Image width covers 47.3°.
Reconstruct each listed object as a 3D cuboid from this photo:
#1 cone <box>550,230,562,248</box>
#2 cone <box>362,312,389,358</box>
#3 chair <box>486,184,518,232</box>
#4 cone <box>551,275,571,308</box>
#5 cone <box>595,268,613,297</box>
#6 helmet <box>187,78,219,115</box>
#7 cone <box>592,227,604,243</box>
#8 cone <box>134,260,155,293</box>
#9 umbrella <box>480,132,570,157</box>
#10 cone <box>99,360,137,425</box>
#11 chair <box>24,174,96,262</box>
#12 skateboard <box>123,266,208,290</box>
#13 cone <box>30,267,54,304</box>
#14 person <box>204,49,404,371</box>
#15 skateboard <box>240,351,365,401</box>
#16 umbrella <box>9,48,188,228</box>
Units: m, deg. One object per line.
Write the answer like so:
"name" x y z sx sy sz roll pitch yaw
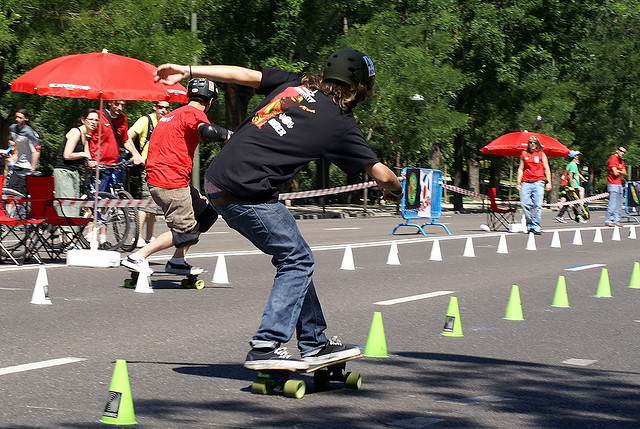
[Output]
"cone" 5.411 0.582 16.650 0.389 0.429 0.323 0 5 13
"cone" 0.510 1.072 6.602 0.239 0.410 0.294 0 1 4
"chair" 5.560 -0.160 21.955 1.150 1.111 1.087 3 2 -15
"cone" 3.104 0.970 9.356 0.220 0.377 0.443 0 1 17
"cone" 4.014 0.939 10.234 0.203 0.356 0.564 0 1 21
"helmet" -1.463 -1.464 9.046 0.367 0.397 0.490 0 1 -10
"cone" 7.034 0.511 18.349 0.460 0.405 0.418 2 2 11
"cone" -2.275 0.780 9.400 0.248 0.402 0.446 0 1 -14
"umbrella" 7.229 -2.500 25.791 2.793 0.784 4.181 0 1 16
"cone" -1.331 1.146 4.794 0.246 0.422 0.176 0 0 -13
"chair" -4.217 0.040 11.622 1.305 1.117 1.209 6 3 -19
"skateboard" -2.054 0.869 9.625 0.966 0.197 0.465 3 -2 -13
"cone" -3.227 0.799 8.423 0.256 0.428 0.627 0 1 -20
"person" -0.184 -0.047 5.523 1.380 2.390 0.364 0 0 1
"skateboard" -0.076 1.178 5.566 0.392 0.218 0.771 1 -2 45
"umbrella" -3.688 -1.318 12.516 3.386 2.860 3.198 6 5 30
